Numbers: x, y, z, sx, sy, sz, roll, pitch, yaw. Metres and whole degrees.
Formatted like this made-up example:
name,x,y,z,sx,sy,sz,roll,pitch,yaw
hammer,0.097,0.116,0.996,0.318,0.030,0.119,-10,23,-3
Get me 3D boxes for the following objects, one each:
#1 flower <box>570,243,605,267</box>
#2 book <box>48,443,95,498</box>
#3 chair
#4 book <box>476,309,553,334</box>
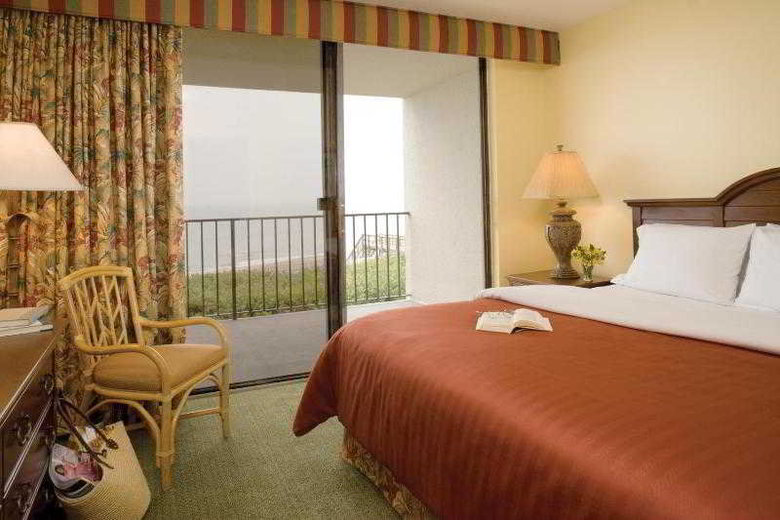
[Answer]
name,x,y,z,sx,sy,sz,roll,pitch,yaw
flower,1.506,-0.034,4.000,0.213,0.149,0.219,1,-5,37
book,-1.472,0.979,2.405,0.250,0.101,0.195,18,16,18
chair,-1.444,0.616,3.147,0.915,1.083,0.926,-4,10,-39
book,0.645,0.309,2.752,0.397,0.063,0.315,1,14,8
